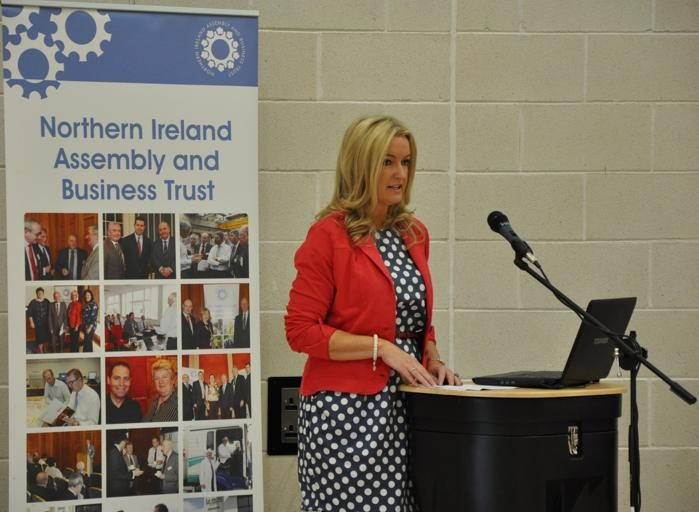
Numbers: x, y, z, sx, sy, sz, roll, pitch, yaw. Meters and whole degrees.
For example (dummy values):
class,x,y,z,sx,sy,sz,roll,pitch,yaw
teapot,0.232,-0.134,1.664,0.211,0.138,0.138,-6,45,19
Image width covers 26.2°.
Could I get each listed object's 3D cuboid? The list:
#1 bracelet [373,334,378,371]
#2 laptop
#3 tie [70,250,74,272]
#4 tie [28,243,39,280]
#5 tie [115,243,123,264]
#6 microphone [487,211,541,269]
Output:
class,x,y,z,sx,sy,sz,roll,pitch,yaw
bracelet,0.117,0.448,6.990,0.029,0.115,0.081,4,-11,0
laptop,1.018,0.448,6.999,0.458,0.345,0.519,-6,-8,37
tie,-1.399,0.025,7.612,0.028,0.107,0.008,0,-4,-14
tie,-1.597,0.031,7.594,0.065,0.178,0.015,0,-4,-14
tie,-1.161,-0.012,7.635,0.017,0.083,0.059,-14,15,-12
microphone,0.778,-0.069,7.038,0.172,0.276,0.329,1,-4,-27
